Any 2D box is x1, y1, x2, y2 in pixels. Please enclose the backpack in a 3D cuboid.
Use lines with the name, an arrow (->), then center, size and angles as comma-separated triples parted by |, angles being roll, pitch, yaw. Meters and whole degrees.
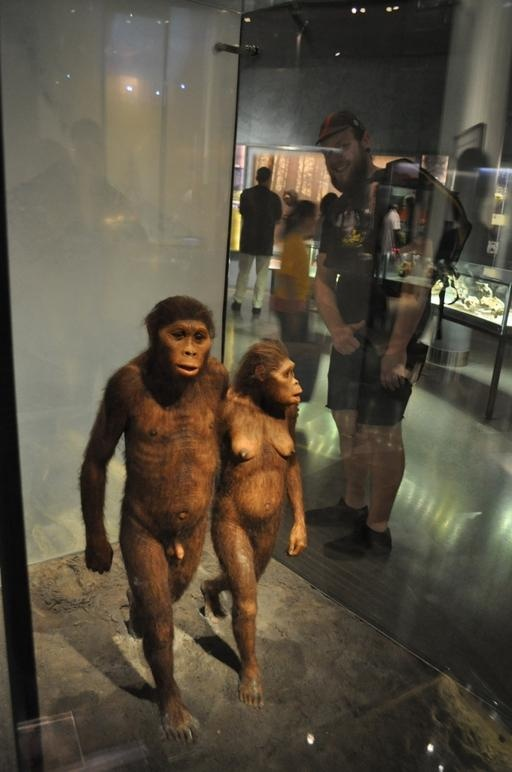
backpack -> 0.630, -0.611, 2.134 | 0.117, 0.487, 0.470 | -7, 24, -30

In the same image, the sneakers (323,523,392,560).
sneakers -> 0.483, 0.764, 2.838 | 0.407, 0.164, 0.138 | 0, 30, 24

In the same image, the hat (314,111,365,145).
hat -> 0.365, -1.079, 2.329 | 0.167, 0.089, 0.125 | 2, 11, -2

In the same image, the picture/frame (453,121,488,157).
picture/frame -> 0.749, -0.853, 1.901 | 0.014, 0.116, 0.134 | -7, 24, -25
